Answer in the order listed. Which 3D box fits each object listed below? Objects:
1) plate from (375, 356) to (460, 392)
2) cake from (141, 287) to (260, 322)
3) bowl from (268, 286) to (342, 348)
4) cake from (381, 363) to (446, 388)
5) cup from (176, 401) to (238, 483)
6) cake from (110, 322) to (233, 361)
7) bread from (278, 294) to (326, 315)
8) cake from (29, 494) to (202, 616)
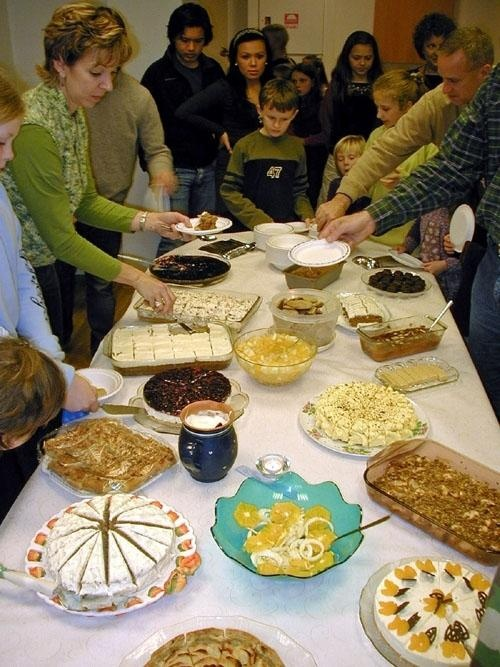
[{"bbox_3d":[0.608,0.150,1.975,0.221,0.028,0.139,-9,33,-20],"label":"plate"},{"bbox_3d":[-0.195,-0.135,2.454,0.392,0.063,0.213,4,29,8],"label":"cake"},{"bbox_3d":[0.225,-0.091,2.207,0.267,0.150,0.248,0,31,0],"label":"bowl"},{"bbox_3d":[0.603,0.154,1.967,0.173,0.022,0.104,-6,31,-10],"label":"cake"},{"bbox_3d":[-0.108,0.276,1.477,0.173,0.165,0.215,1,36,-2],"label":"cup"},{"bbox_3d":[-0.319,0.044,2.051,0.352,0.054,0.188,1,31,-1],"label":"cake"},{"bbox_3d":[0.218,-0.126,2.256,0.121,0.029,0.115,6,29,12],"label":"bread"},{"bbox_3d":[-0.276,0.464,1.173,0.316,0.090,0.273,-4,25,-10],"label":"cake"}]
